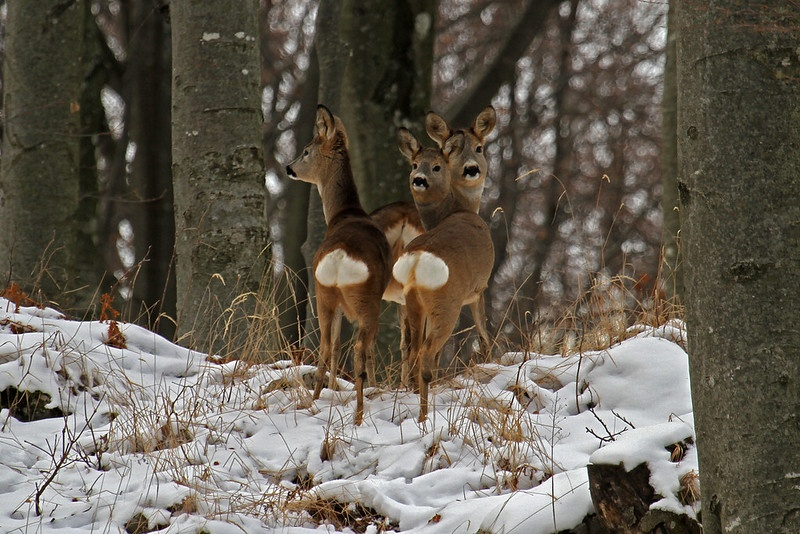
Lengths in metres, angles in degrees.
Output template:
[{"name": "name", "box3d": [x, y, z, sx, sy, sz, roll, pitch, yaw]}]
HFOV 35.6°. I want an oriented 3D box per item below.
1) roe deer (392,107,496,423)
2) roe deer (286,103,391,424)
[{"name": "roe deer", "box3d": [0.505, -0.148, 13.823, 1.098, 3.379, 2.220, 3, 4, 3]}, {"name": "roe deer", "box3d": [-0.584, -0.112, 13.783, 0.940, 3.345, 1.904, 3, 4, -5]}]
